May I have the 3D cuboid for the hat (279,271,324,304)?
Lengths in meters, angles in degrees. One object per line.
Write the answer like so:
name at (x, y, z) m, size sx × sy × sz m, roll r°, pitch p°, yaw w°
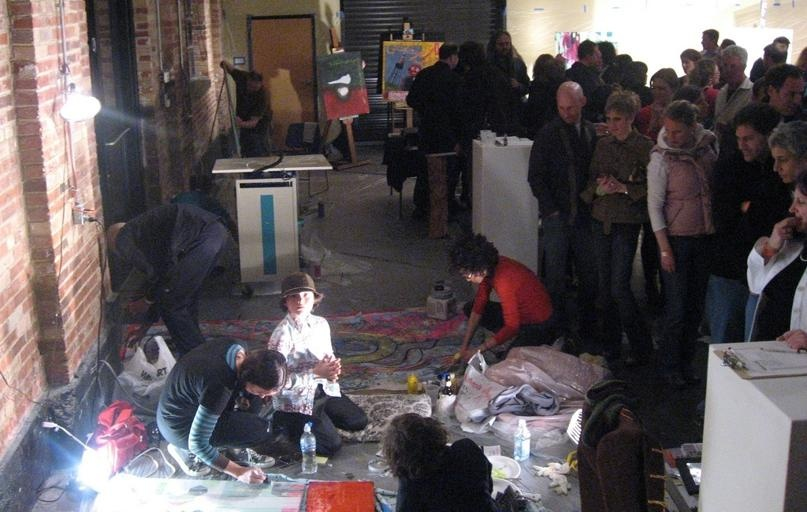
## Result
hat at (-0.912, 0.234, 5.247) m, size 0.288 × 0.157 × 0.313 m, roll -4°, pitch 0°, yaw -15°

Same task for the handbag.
handbag at (-2.286, 1.431, 4.925) m, size 0.416 × 0.394 × 0.394 m, roll 11°, pitch 17°, yaw 41°

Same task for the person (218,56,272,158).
person at (-2.990, -2.908, 11.983) m, size 0.643 × 1.686 × 0.637 m, roll -2°, pitch 13°, yaw -6°

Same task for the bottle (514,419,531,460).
bottle at (0.938, 1.436, 4.901) m, size 0.138 × 0.309 × 0.277 m, roll 2°, pitch 13°, yaw 11°

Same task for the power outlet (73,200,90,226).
power outlet at (-2.736, -0.409, 5.232) m, size 0.140 × 0.218 × 0.211 m, roll -7°, pitch 15°, yaw -27°

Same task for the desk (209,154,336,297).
desk at (-1.744, -0.436, 8.035) m, size 1.828 × 1.608 × 1.682 m, roll -5°, pitch 8°, yaw -27°

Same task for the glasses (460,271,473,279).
glasses at (0.606, 0.149, 5.980) m, size 0.119 × 0.035 × 0.110 m, roll 2°, pitch 9°, yaw -1°

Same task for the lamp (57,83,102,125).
lamp at (-2.637, -1.297, 4.977) m, size 0.276 × 0.321 × 0.617 m, roll -7°, pitch 14°, yaw -28°

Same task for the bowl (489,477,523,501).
bowl at (0.739, 1.679, 4.481) m, size 0.223 × 0.042 × 0.213 m, roll -3°, pitch 16°, yaw 1°

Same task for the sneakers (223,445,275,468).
sneakers at (-1.226, 1.621, 4.935) m, size 0.305 × 0.058 × 0.177 m, roll 9°, pitch 14°, yaw 9°

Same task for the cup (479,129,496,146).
cup at (0.987, -1.473, 7.314) m, size 0.170 × 0.205 × 0.221 m, roll -1°, pitch 0°, yaw -5°
